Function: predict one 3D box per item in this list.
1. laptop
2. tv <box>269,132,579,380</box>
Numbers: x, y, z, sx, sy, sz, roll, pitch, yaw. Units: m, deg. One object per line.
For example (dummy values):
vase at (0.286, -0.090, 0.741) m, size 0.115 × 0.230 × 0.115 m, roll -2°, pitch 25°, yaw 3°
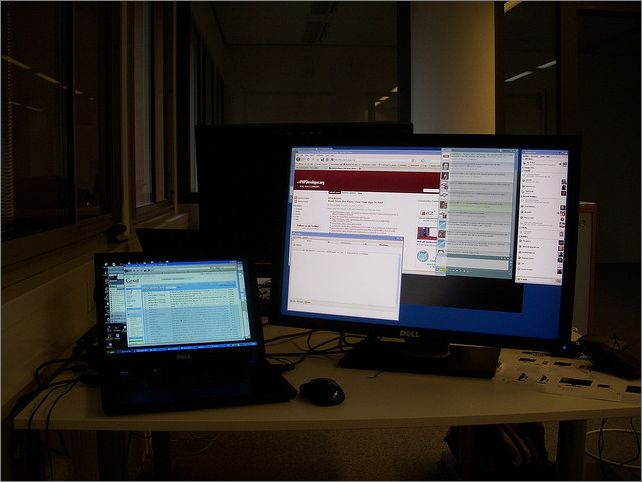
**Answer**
laptop at (-0.448, 0.233, 1.853) m, size 0.556 × 0.486 × 0.370 m, roll -1°, pitch 0°, yaw -8°
tv at (0.314, 0.028, 1.831) m, size 0.945 × 0.734 × 0.273 m, roll 3°, pitch 20°, yaw 18°
